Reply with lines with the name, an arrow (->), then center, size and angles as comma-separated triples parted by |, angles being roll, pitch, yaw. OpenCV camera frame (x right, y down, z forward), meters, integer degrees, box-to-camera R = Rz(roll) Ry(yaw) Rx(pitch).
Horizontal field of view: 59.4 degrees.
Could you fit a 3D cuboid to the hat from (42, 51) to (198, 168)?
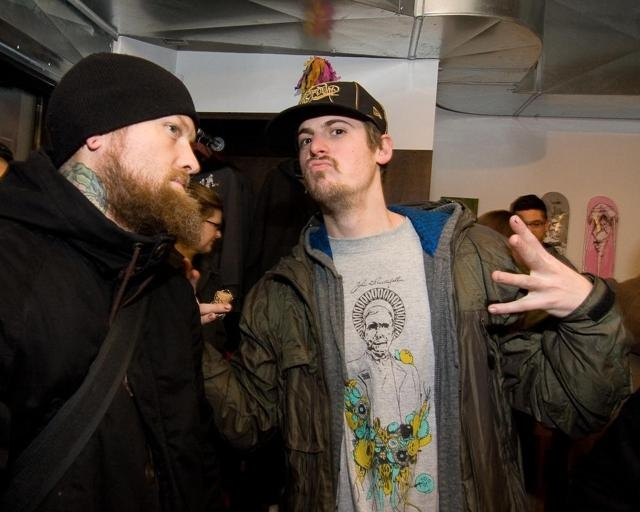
hat -> -0.759, -0.458, 2.097 | 0.480, 0.387, 0.342 | 1, -11, -30
